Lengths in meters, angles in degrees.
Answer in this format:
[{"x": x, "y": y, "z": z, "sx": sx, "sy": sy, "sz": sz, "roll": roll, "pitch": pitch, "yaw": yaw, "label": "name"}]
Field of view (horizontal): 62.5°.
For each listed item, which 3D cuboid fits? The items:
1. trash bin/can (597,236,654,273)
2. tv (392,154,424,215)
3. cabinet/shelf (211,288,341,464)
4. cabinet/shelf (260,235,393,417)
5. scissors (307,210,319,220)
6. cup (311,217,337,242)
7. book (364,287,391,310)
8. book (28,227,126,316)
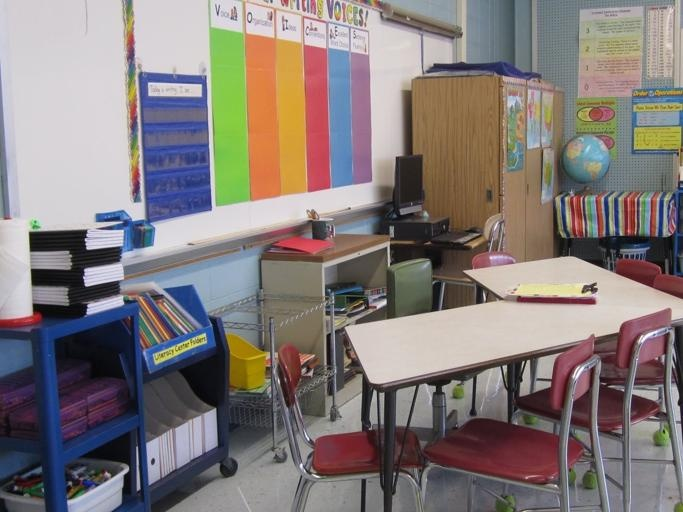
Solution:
[{"x": 2.788, "y": -0.039, "z": 5.519, "sx": 0.319, "sy": 0.254, "sz": 0.315, "roll": -6, "pitch": 7, "yaw": -1, "label": "trash bin/can"}, {"x": 0.584, "y": -0.622, "z": 4.935, "sx": 0.171, "sy": 0.505, "sz": 0.472, "roll": 3, "pitch": -9, "yaw": 24, "label": "tv"}, {"x": -0.411, "y": 0.600, "z": 3.571, "sx": 0.745, "sy": 0.949, "sz": 0.948, "roll": 6, "pitch": 14, "yaw": 23, "label": "cabinet/shelf"}, {"x": -0.122, "y": 0.417, "z": 3.400, "sx": 0.318, "sy": 0.929, "sz": 0.937, "roll": 3, "pitch": 16, "yaw": 14, "label": "cabinet/shelf"}, {"x": -0.213, "y": -0.301, "z": 4.110, "sx": 0.066, "sy": 0.039, "sz": 0.106, "roll": -8, "pitch": -15, "yaw": -3, "label": "scissors"}, {"x": -0.116, "y": -0.185, "z": 4.016, "sx": 0.167, "sy": 0.140, "sz": 0.112, "roll": 5, "pitch": 8, "yaw": 32, "label": "cup"}, {"x": 0.262, "y": 0.308, "z": 4.217, "sx": 0.149, "sy": 0.064, "sz": 0.152, "roll": 7, "pitch": 9, "yaw": 44, "label": "book"}, {"x": -1.034, "y": 0.048, "z": 2.220, "sx": 0.269, "sy": 0.195, "sz": 0.350, "roll": -6, "pitch": 9, "yaw": -42, "label": "book"}]
